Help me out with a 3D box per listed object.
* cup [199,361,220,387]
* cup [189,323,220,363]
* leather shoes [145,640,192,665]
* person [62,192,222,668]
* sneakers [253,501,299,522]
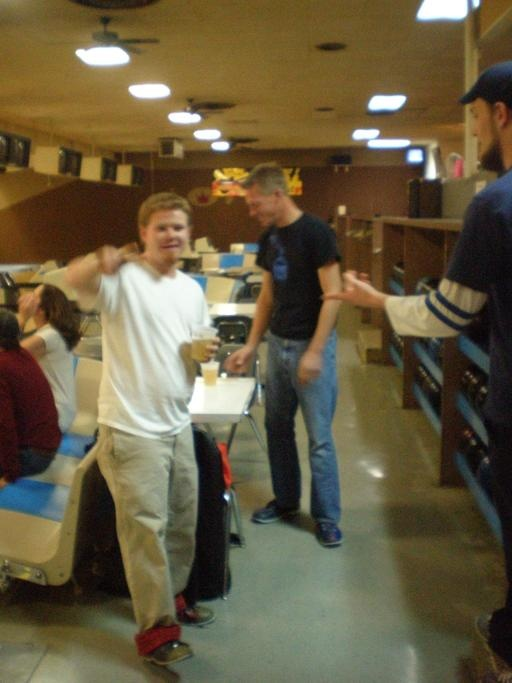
[{"bbox_3d":[-0.198,0.145,2.609,0.132,0.133,0.128,0,1,0],"label":"cup"},{"bbox_3d":[-0.170,0.015,1.830,0.124,0.150,0.106,7,-7,-8],"label":"cup"},{"bbox_3d":[-0.249,0.917,1.679,0.148,0.064,0.068,-18,-13,21],"label":"leather shoes"},{"bbox_3d":[-0.324,0.241,1.774,0.343,1.436,0.479,2,7,14],"label":"person"},{"bbox_3d":[0.098,0.836,2.785,0.239,0.091,0.083,0,-8,-23],"label":"sneakers"}]
